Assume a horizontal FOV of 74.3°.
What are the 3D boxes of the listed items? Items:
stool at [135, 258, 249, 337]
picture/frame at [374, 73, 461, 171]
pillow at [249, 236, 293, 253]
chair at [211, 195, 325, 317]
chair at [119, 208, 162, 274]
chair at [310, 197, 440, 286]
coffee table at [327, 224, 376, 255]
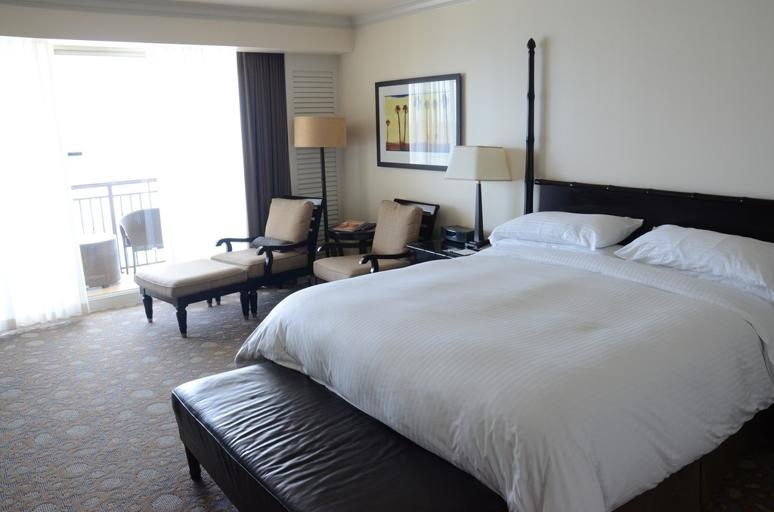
[{"bbox_3d":[-1.971,0.227,5.070,0.815,0.554,0.836,12,17,41],"label":"stool"},{"bbox_3d":[0.371,-1.506,5.619,0.053,1.030,1.248,-13,17,-42],"label":"picture/frame"},{"bbox_3d":[-1.257,-0.133,5.571,0.234,0.092,0.328,-12,19,-34],"label":"pillow"},{"bbox_3d":[-1.353,-0.057,5.774,0.829,1.206,1.074,10,14,36],"label":"chair"},{"bbox_3d":[-2.882,-0.186,6.163,0.545,0.714,0.562,4,8,22],"label":"chair"},{"bbox_3d":[-0.164,0.017,5.498,1.104,1.129,0.818,-11,18,-41],"label":"chair"},{"bbox_3d":[-0.427,-0.228,6.059,0.416,0.463,0.454,-4,14,-12],"label":"coffee table"}]
